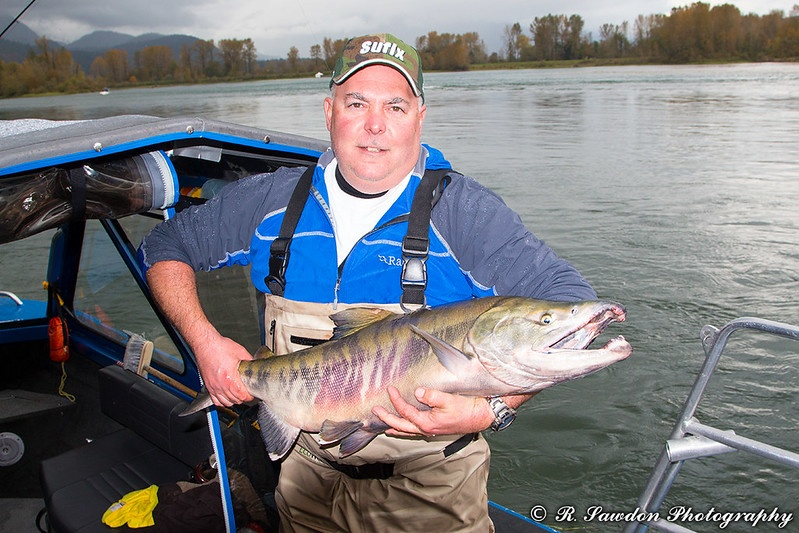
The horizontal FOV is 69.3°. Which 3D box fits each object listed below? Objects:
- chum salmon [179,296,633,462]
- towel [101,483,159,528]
[{"bbox_3d":[-0.084,0.718,3.656,2.828,0.894,0.859,-8,-11,21],"label":"chum salmon"},{"bbox_3d":[-2.323,2.080,5.016,0.298,0.102,0.289,-9,19,-39],"label":"towel"}]
